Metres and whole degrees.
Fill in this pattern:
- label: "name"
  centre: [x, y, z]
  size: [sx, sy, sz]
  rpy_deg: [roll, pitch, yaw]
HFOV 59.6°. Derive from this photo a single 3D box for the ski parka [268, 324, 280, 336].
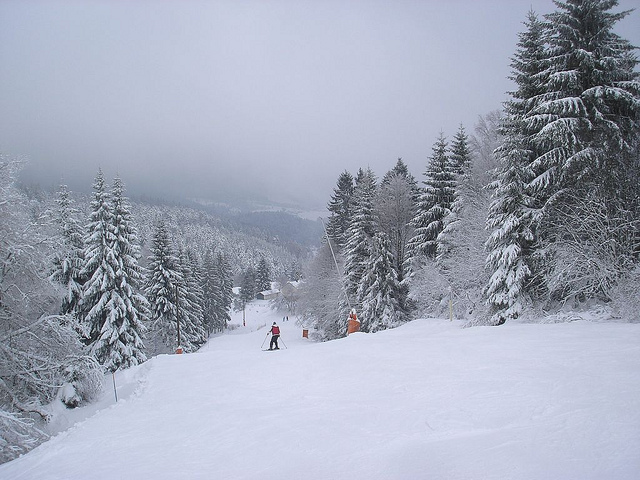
- label: "ski parka"
  centre: [-2.646, 5.502, 33.123]
  size: [0.646, 0.756, 0.277]
  rpy_deg: [-2, 15, -22]
